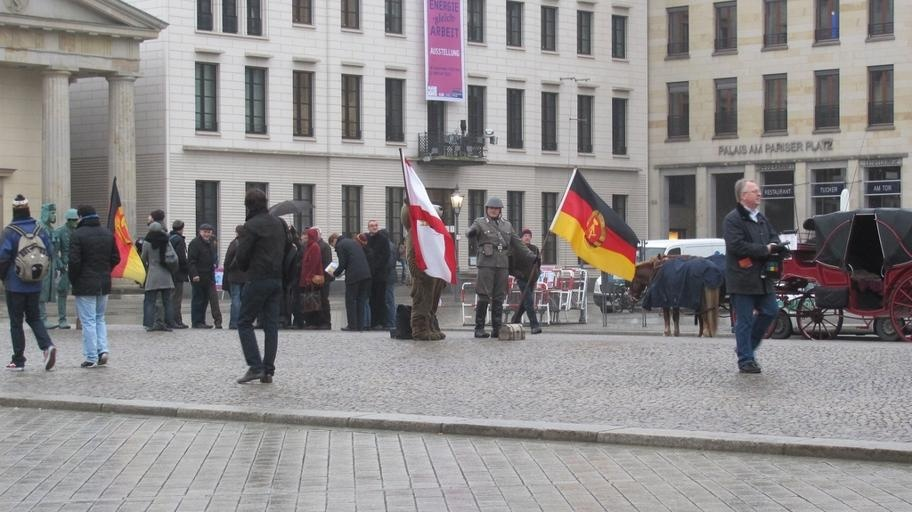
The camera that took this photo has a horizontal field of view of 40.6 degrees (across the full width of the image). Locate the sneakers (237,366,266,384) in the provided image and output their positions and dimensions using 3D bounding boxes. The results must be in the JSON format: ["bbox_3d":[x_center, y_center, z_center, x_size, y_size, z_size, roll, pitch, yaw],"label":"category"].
[{"bbox_3d":[-4.002,2.366,24.246,0.698,0.249,0.240,-2,2,26],"label":"sneakers"}]

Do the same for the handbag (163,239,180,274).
[{"bbox_3d":[-7.630,0.014,33.085,0.401,0.855,0.905,-4,-5,-20],"label":"handbag"}]

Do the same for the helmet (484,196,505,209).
[{"bbox_3d":[0.930,-1.266,29.777,0.470,0.207,0.539,1,5,-5],"label":"helmet"}]

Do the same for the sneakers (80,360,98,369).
[{"bbox_3d":[-7.762,2.321,26.179,0.352,0.134,0.139,4,1,15],"label":"sneakers"}]

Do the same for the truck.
[{"bbox_3d":[7.368,0.524,43.889,4.898,2.172,2.448,0,-3,-1],"label":"truck"}]

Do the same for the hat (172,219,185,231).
[{"bbox_3d":[-7.606,-0.828,33.880,0.358,0.212,0.422,2,0,-4],"label":"hat"}]

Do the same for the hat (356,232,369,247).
[{"bbox_3d":[-2.515,-0.428,33.818,0.340,0.313,0.354,3,10,-11],"label":"hat"}]

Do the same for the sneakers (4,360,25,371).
[{"bbox_3d":[-9.371,2.337,26.191,0.450,0.164,0.187,6,6,28],"label":"sneakers"}]

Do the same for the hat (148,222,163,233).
[{"bbox_3d":[-8.098,-0.775,33.361,0.354,0.247,0.245,-13,7,-22],"label":"hat"}]

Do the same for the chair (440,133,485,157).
[{"bbox_3d":[0.347,-5.283,60.358,3.545,1.207,0.790,1,2,-38],"label":"chair"}]

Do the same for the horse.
[{"bbox_3d":[5.561,1.066,31.136,1.186,1.899,3.395,1,-3,-30],"label":"horse"}]
